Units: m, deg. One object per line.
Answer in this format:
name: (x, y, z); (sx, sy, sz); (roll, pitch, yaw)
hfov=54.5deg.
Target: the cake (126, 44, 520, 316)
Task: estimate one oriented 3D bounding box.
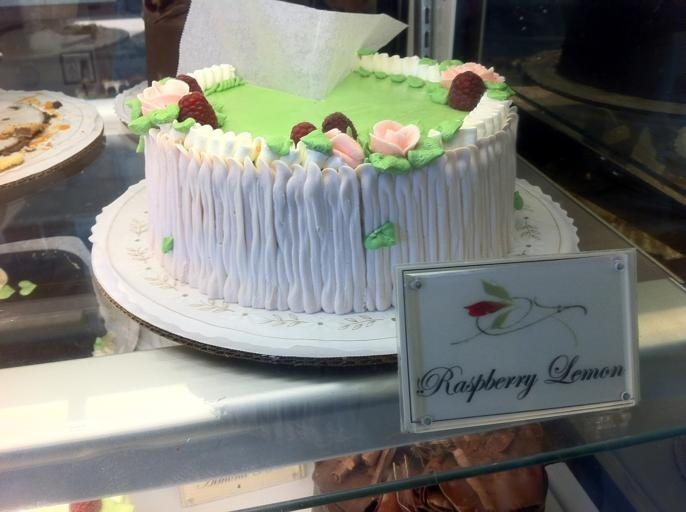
cake: (-0.040, -0.190, 1.624); (0.767, 0.343, 0.763); (1, 26, 1)
